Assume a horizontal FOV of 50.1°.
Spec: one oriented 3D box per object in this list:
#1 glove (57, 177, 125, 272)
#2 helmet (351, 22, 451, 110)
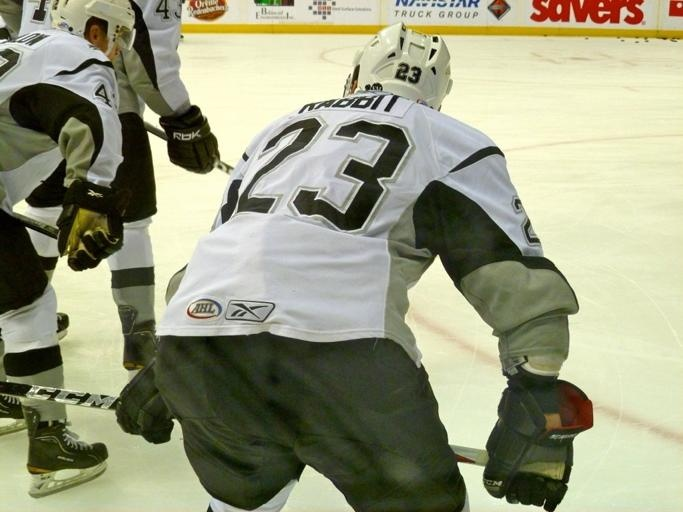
[{"bbox_3d":[-0.852,-0.108,2.494,0.282,0.283,0.128,2,15,-21],"label":"glove"},{"bbox_3d":[0.198,-0.566,2.350,0.238,0.299,0.299,27,2,1],"label":"helmet"}]
